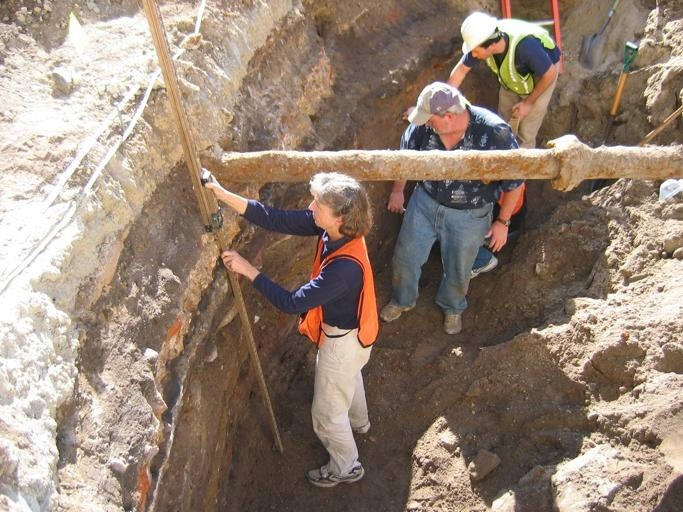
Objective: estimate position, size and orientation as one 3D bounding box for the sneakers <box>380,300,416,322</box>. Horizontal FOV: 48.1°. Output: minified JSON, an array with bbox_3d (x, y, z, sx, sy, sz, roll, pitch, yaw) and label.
[{"bbox_3d":[0.470,0.454,6.377,0.275,0.122,0.150,-29,77,4],"label":"sneakers"}]

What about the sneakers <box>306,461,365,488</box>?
[{"bbox_3d":[-0.066,1.590,5.574,0.459,0.194,0.239,-7,1,20],"label":"sneakers"}]

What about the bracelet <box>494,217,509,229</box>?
[{"bbox_3d":[1.213,-0.274,5.772,0.069,0.077,0.080,18,58,14],"label":"bracelet"}]

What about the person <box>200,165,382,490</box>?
[{"bbox_3d":[-0.349,0.512,5.222,1.144,2.235,0.775,10,29,14],"label":"person"}]

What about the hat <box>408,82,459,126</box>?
[{"bbox_3d":[0.633,-1.050,5.235,0.314,0.176,0.228,-14,50,25],"label":"hat"}]

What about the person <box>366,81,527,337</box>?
[{"bbox_3d":[0.835,-0.350,5.827,0.955,2.330,0.717,10,43,12],"label":"person"}]

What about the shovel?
[{"bbox_3d":[2.309,-1.415,6.711,0.477,1.295,1.233,4,32,16],"label":"shovel"}]

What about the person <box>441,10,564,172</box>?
[{"bbox_3d":[1.280,-1.325,6.211,0.971,1.499,0.591,-14,42,2],"label":"person"}]
